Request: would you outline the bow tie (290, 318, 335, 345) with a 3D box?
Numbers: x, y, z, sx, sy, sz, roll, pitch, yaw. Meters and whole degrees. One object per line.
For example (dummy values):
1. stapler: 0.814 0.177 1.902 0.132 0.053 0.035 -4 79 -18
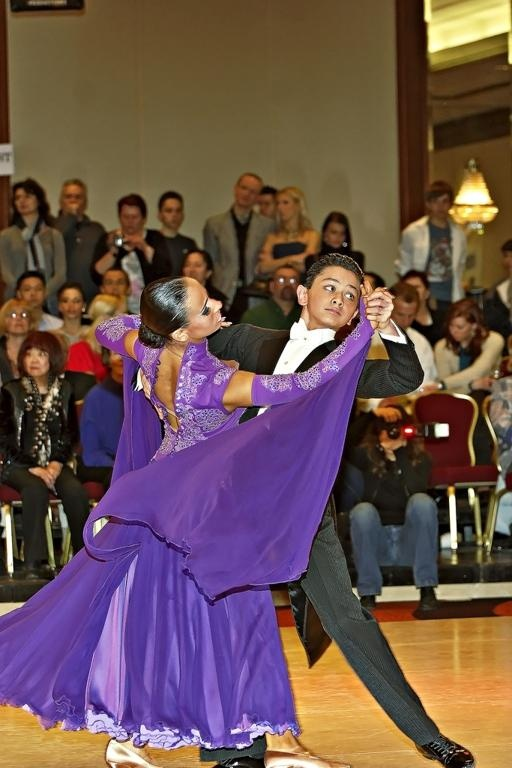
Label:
1. bow tie: 0.129 -0.116 1.698 0.066 0.045 0.083 18 -4 14
